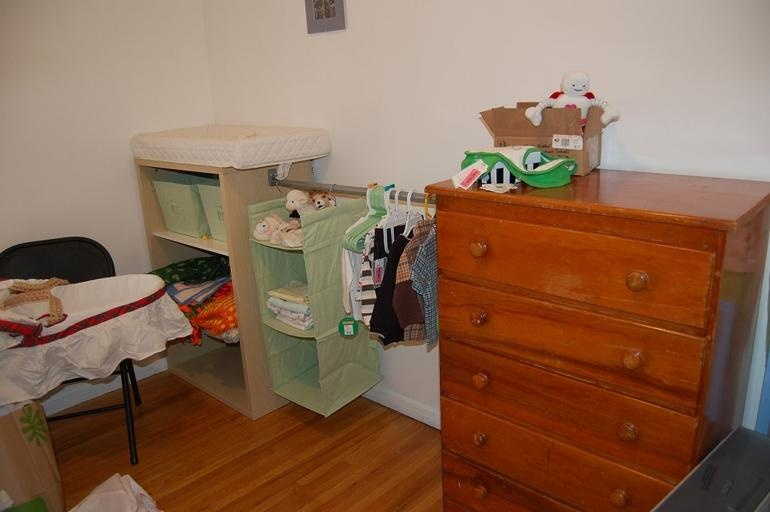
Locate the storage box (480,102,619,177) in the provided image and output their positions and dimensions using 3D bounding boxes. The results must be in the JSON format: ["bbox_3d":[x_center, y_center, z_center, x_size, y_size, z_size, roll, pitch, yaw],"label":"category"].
[{"bbox_3d":[0.695,-0.537,2.378,0.450,0.269,0.321,11,21,38],"label":"storage box"}]

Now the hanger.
[{"bbox_3d":[0.000,-0.226,2.785,0.326,0.200,0.438,4,26,29],"label":"hanger"}]

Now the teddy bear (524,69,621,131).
[{"bbox_3d":[0.800,-0.625,2.338,0.391,0.280,0.219,5,36,14],"label":"teddy bear"}]

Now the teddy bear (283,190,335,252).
[{"bbox_3d":[-0.467,-0.227,3.144,0.313,0.367,0.324,0,15,-15],"label":"teddy bear"}]

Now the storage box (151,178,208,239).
[{"bbox_3d":[-1.308,-0.309,3.491,0.324,0.244,0.190,7,29,40],"label":"storage box"}]
